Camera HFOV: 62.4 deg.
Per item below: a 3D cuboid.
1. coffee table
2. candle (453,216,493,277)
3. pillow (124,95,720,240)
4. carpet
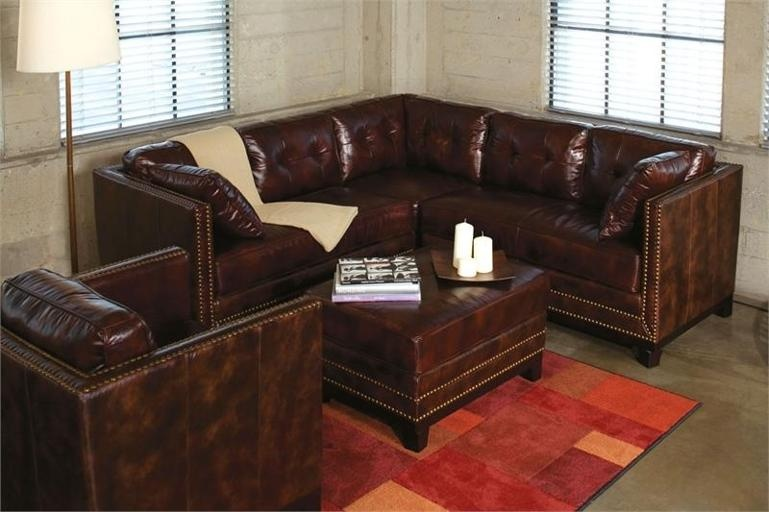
[{"bbox_3d":[0.188,0.411,3.253,0.923,0.471,0.687,-16,17,-41],"label":"coffee table"},{"bbox_3d":[0.457,-0.046,3.395,0.295,0.321,0.267,0,12,1],"label":"candle"},{"bbox_3d":[0.044,-0.621,4.176,1.978,0.557,1.733,19,29,37],"label":"pillow"},{"bbox_3d":[0.594,0.891,2.980,1.787,0.066,0.826,-6,26,-6],"label":"carpet"}]
